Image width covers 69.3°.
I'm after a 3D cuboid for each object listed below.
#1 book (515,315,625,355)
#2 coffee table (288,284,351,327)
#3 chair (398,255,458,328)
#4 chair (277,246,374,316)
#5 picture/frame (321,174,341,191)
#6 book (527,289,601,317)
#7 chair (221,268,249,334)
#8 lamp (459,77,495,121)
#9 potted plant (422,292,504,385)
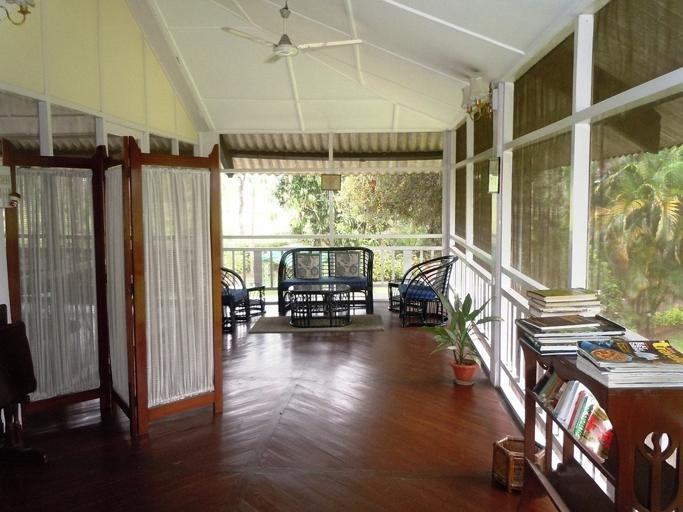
[{"bbox_3d":[1.298,0.430,2.819,0.296,0.076,0.297,-3,9,4],"label":"book"},{"bbox_3d":[-0.323,0.800,8.078,1.024,0.607,0.992,-1,1,-43],"label":"coffee table"},{"bbox_3d":[1.390,0.494,7.968,0.845,1.178,1.087,3,8,10],"label":"chair"},{"bbox_3d":[-0.262,0.426,8.753,1.512,1.161,0.906,-2,4,0],"label":"chair"},{"bbox_3d":[-0.201,-1.422,9.523,0.308,0.255,0.319,-1,5,-18],"label":"picture/frame"},{"bbox_3d":[1.380,0.283,3.085,0.235,0.096,0.248,-1,6,7],"label":"book"},{"bbox_3d":[-1.803,0.666,7.931,0.497,0.835,0.625,-1,6,2],"label":"chair"},{"bbox_3d":[1.474,-1.639,5.183,0.267,0.316,0.403,3,5,20],"label":"lamp"},{"bbox_3d":[1.436,0.948,5.522,0.803,0.901,0.725,5,5,-4],"label":"potted plant"}]
